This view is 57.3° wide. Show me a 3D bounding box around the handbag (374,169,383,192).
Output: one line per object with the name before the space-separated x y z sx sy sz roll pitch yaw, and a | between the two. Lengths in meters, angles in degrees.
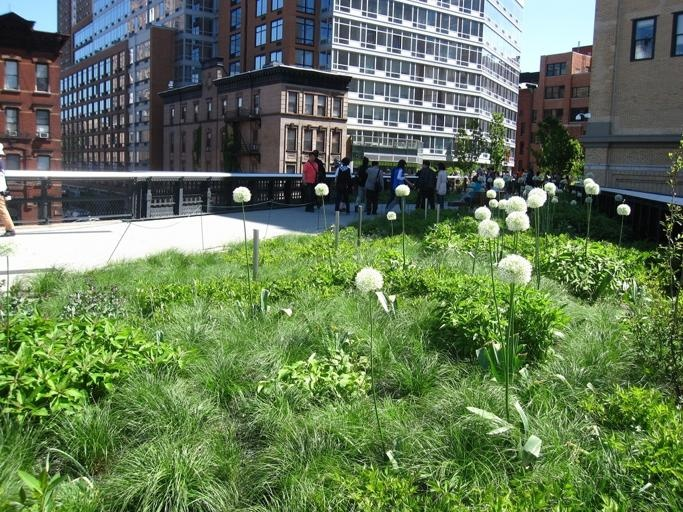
handbag | 1.305 -2.638 21.897 0.229 0.802 0.571 -1 9 2
